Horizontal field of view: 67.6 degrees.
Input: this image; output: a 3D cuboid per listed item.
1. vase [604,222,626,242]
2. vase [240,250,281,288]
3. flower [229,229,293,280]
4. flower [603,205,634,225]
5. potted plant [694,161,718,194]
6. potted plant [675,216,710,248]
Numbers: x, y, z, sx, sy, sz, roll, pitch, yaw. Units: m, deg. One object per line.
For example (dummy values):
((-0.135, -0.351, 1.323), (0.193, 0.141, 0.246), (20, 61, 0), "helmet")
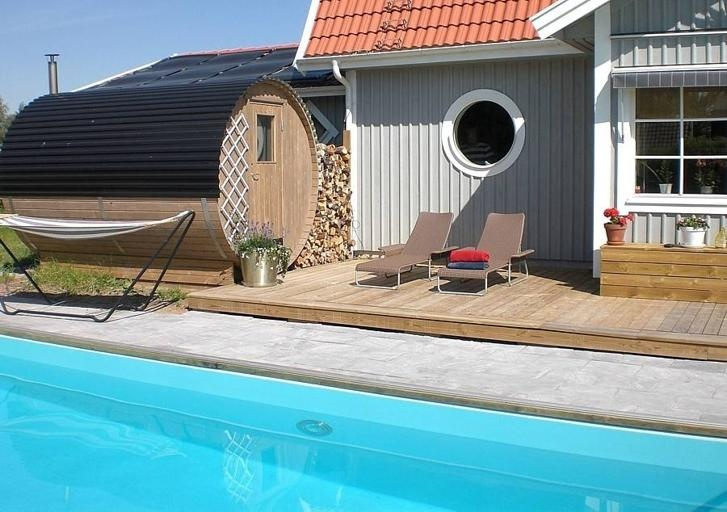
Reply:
((3.793, -0.347, 8.201), (0.295, 0.261, 0.291), (0, -2, -10), "vase")
((-1.707, 0.240, 8.982), (0.573, 0.476, 0.629), (-1, 1, -21), "vase")
((-1.826, 0.063, 9.294), (0.941, 0.873, 0.894), (-2, 0, -38), "flower")
((3.905, -0.600, 8.388), (0.413, 0.276, 0.599), (3, 12, 24), "flower")
((5.274, -1.227, 8.409), (0.314, 0.501, 0.164), (4, 12, 29), "potted plant")
((4.766, -0.324, 7.915), (0.419, 0.416, 0.409), (-1, 5, -37), "potted plant")
